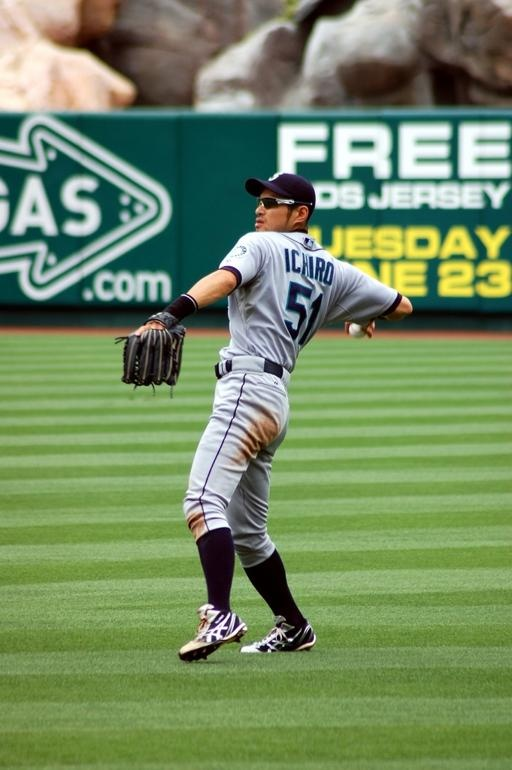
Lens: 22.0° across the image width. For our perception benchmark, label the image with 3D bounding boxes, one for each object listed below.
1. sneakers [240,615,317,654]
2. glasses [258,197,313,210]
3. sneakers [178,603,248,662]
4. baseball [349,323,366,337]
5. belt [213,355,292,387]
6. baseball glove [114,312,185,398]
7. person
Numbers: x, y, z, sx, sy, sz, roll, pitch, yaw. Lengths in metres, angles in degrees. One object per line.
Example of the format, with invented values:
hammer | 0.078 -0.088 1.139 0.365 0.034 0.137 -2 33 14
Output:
sneakers | 0.096 0.853 4.448 0.289 0.129 0.098 -3 -6 2
glasses | 0.090 -0.602 4.407 0.098 0.024 0.067 5 -5 -8
sneakers | -0.133 0.788 4.110 0.194 0.208 0.184 3 5 0
baseball | 0.371 -0.196 4.781 0.049 0.052 0.048 -3 16 7
belt | -0.011 -0.050 4.318 0.244 0.089 0.140 3 5 -2
baseball glove | -0.305 -0.088 4.117 0.218 0.207 0.176 -3 -13 30
person | 0.021 0.095 4.342 0.409 1.601 0.942 7 7 32
